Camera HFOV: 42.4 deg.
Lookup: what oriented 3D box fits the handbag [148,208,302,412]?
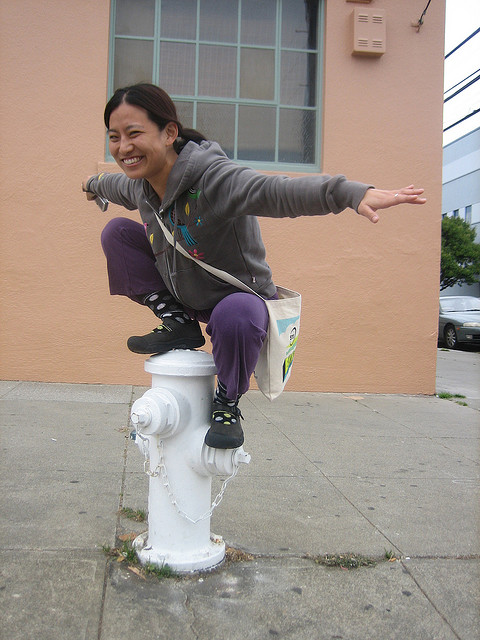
[{"bbox_3d":[-0.158,0.011,2.786,0.845,0.671,0.574,8,-4,-33],"label":"handbag"}]

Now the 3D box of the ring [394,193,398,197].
[{"bbox_3d":[0.478,-0.389,1.919,0.004,0.016,0.017,31,17,13],"label":"ring"}]

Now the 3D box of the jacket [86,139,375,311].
[{"bbox_3d":[-0.081,-0.561,3.754,0.542,0.715,1.866,-24,23,-38],"label":"jacket"}]

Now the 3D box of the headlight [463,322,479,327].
[{"bbox_3d":[5.125,0.091,13.868,0.329,0.118,0.217,5,5,19],"label":"headlight"}]

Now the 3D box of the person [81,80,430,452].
[{"bbox_3d":[-0.196,-0.173,2.693,2.113,1.316,0.781,7,7,42],"label":"person"}]

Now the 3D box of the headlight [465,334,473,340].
[{"bbox_3d":[5.048,0.354,13.762,0.118,0.049,0.145,3,6,3],"label":"headlight"}]

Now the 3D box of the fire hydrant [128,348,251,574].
[{"bbox_3d":[-0.218,0.569,2.546,0.472,0.876,0.275,4,6,-9],"label":"fire hydrant"}]
